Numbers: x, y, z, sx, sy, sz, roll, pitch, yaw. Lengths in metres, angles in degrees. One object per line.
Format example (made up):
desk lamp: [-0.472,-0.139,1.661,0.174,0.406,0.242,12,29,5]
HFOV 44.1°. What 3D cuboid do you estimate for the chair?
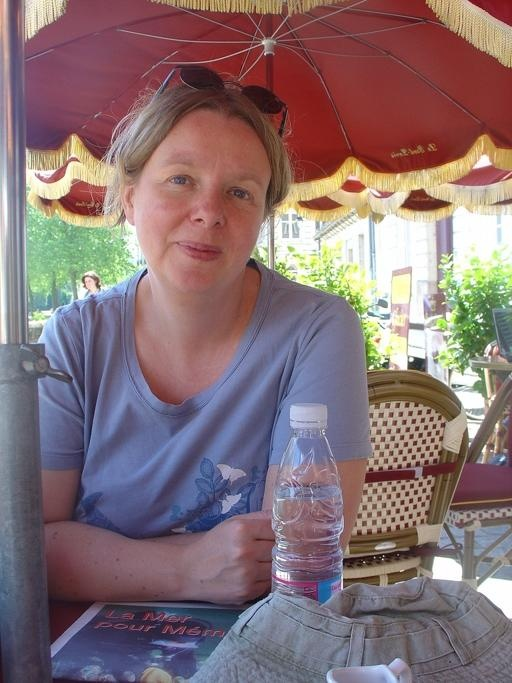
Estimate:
chair: [0.432,0.397,2.139,0.664,0.777,0.638,1,7,-8]
